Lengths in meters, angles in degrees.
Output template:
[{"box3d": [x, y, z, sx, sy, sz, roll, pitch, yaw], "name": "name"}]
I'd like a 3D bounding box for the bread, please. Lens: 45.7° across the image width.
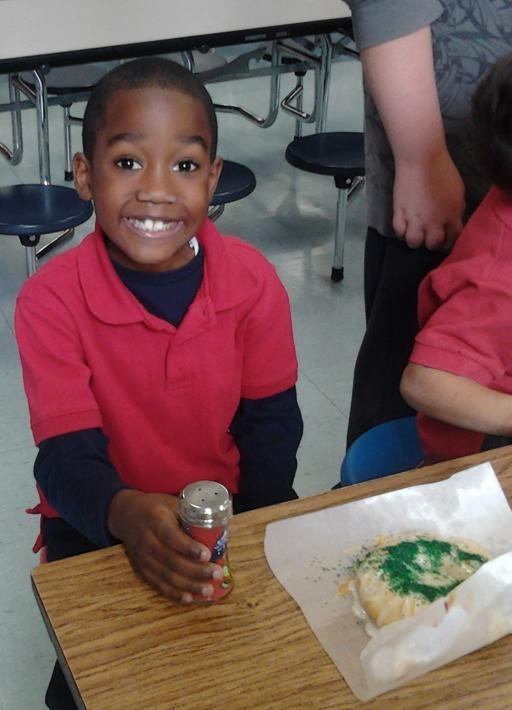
[{"box3d": [0.132, 0.188, 0.523, 0.078, 0.017, 0.073, -10, 27, -5], "name": "bread"}]
